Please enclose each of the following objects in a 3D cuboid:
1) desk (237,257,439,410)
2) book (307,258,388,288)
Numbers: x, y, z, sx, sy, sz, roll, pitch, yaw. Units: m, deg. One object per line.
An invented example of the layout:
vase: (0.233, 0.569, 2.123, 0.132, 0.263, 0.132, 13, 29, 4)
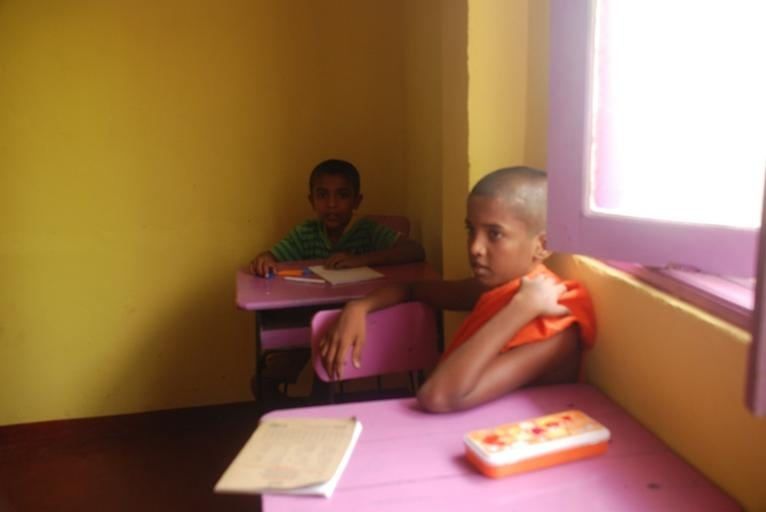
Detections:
desk: (-0.181, 0.247, 2.098, 0.740, 0.723, 0.599, -1, 4, -10)
book: (-0.146, 0.070, 2.232, 0.402, 0.055, 0.363, -4, 13, -14)
